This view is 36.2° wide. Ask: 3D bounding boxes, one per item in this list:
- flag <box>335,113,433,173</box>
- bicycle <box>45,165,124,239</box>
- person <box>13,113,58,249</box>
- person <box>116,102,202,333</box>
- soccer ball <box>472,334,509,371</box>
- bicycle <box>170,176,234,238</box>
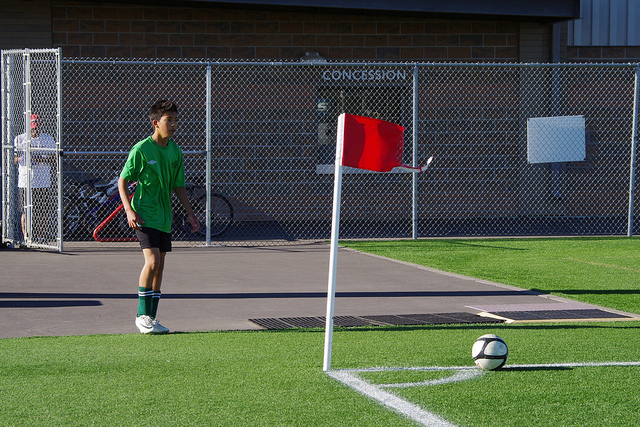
[{"bbox_3d":[0.549,-0.764,10.581,0.666,0.590,0.179,0,5,-9],"label":"flag"},{"bbox_3d":[-4.626,-0.028,18.435,1.169,1.137,2.588,-1,5,-19],"label":"bicycle"},{"bbox_3d":[-5.212,-0.580,17.517,0.876,2.378,0.703,-1,-1,16],"label":"person"},{"bbox_3d":[-2.005,0.029,12.070,0.846,2.784,0.634,-2,6,-36],"label":"person"},{"bbox_3d":[1.836,1.497,10.739,0.412,0.361,0.385,1,3,0],"label":"soccer ball"},{"bbox_3d":[-2.342,-0.062,19.192,1.233,1.079,1.582,0,5,-7],"label":"bicycle"}]
